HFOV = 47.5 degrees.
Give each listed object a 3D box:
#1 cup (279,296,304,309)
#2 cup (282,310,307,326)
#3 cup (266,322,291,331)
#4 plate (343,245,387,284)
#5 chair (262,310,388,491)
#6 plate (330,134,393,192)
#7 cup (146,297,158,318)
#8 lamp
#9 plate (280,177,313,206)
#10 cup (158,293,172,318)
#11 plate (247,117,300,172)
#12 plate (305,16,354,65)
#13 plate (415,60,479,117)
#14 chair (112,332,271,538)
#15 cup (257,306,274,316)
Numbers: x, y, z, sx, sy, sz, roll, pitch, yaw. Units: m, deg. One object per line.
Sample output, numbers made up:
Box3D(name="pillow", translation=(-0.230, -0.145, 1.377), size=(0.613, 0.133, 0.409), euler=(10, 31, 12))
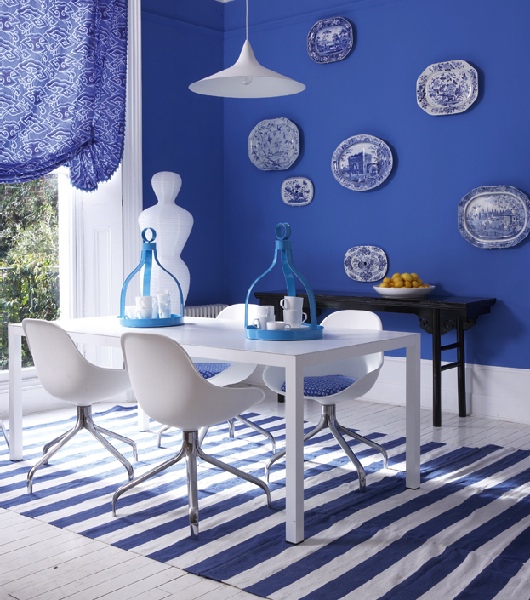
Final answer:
Box3D(name="cup", translation=(0.107, 0.006, 2.395), size=(0.077, 0.047, 0.056), euler=(-1, 3, -16))
Box3D(name="cup", translation=(0.120, 0.069, 2.408), size=(0.094, 0.057, 0.067), euler=(1, -2, -13))
Box3D(name="cup", translation=(0.055, 0.101, 2.350), size=(0.060, 0.025, 0.040), euler=(3, -3, -18))
Box3D(name="plate", translation=(0.721, -0.277, 4.403), size=(0.367, 0.245, 0.085), euler=(6, 5, 39))
Box3D(name="chair", translation=(0.283, 0.438, 2.792), size=(0.573, 0.672, 0.528), euler=(-2, 6, 15))
Box3D(name="plate", translation=(0.705, -1.003, 4.392), size=(0.475, 0.414, 0.069), euler=(1, 2, 40))
Box3D(name="cup", translation=(-0.531, 0.032, 2.879), size=(0.045, 0.100, 0.075), euler=(1, 1, 28))
Box3D(name="lamp", translation=(-0.053, -0.982, 2.545), size=(0.426, 0.219, 0.407), euler=(-1, 1, -37))
Box3D(name="plate", translation=(0.258, -0.867, 4.765), size=(0.276, 0.207, 0.038), euler=(4, 8, 44))
Box3D(name="cup", translation=(-0.488, 0.023, 2.917), size=(0.062, 0.117, 0.116), euler=(0, 1, -10))
Box3D(name="plate", translation=(0.073, -1.268, 4.890), size=(0.500, 0.404, 0.063), euler=(1, 2, 42))
Box3D(name="plate", translation=(0.487, -1.950, 4.516), size=(0.389, 0.329, 0.061), euler=(1, 2, 40))
Box3D(name="plate", translation=(1.202, -1.413, 3.981), size=(0.403, 0.065, 0.470), euler=(21, -22, 25))
Box3D(name="chair", translation=(-0.301, 0.451, 2.180), size=(0.420, 0.697, 0.466), euler=(1, 2, 39))
Box3D(name="cup", translation=(0.004, 0.044, 2.421), size=(0.040, 0.047, 0.039), euler=(4, -2, 0))
